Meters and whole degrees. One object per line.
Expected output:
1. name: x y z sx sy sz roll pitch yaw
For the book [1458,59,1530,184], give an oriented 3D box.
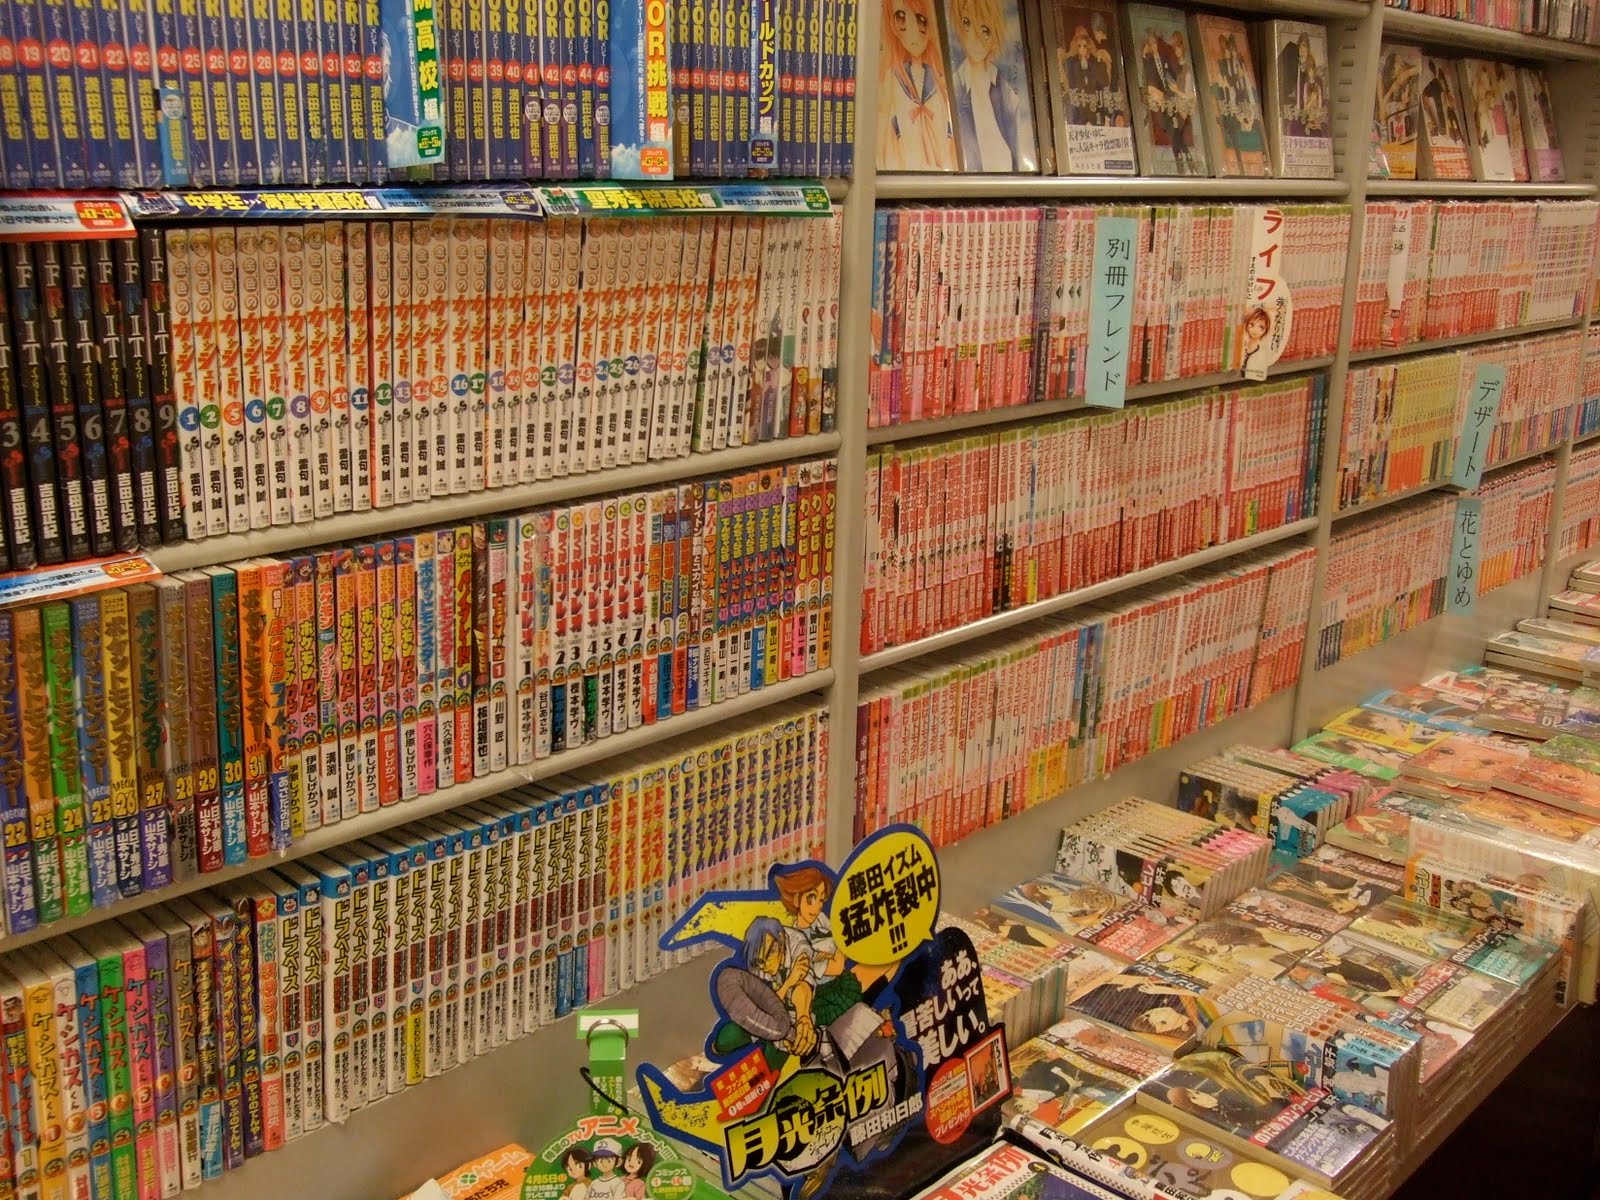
1. book: 2.239 -1.546 4.056 0.099 0.412 0.428 -3 12 36
